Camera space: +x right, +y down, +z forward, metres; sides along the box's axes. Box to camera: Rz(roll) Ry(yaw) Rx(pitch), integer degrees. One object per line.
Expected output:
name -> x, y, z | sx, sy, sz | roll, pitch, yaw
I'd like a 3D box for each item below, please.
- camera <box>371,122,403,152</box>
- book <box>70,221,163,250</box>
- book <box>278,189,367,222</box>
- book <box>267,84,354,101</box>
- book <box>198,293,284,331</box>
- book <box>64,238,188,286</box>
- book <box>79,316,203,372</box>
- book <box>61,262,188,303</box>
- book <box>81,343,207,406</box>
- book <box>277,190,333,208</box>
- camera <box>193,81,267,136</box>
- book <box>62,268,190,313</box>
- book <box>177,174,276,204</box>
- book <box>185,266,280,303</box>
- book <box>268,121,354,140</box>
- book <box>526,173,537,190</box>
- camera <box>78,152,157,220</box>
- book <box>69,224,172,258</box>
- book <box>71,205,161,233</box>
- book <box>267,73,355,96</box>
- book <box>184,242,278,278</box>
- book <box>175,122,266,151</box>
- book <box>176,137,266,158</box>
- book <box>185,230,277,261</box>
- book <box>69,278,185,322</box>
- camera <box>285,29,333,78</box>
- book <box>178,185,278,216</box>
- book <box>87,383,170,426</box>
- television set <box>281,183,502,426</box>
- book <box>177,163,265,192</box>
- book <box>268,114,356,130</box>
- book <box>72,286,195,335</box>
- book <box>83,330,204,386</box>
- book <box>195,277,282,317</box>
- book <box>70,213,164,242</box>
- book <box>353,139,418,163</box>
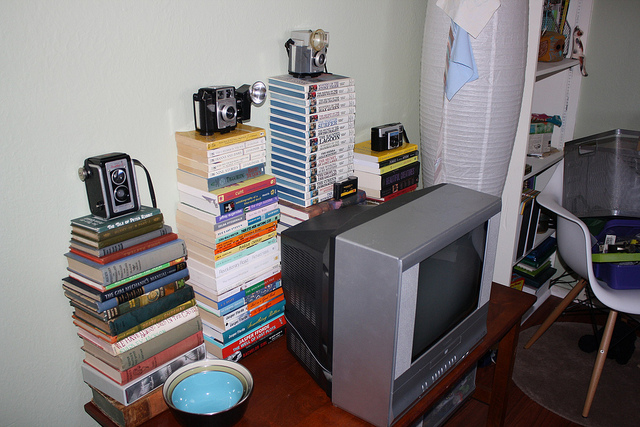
camera -> 0.330, -0.385, 2.428 | 0.195, 0.116, 0.081 | -21, 25, -39
book -> -0.688, 0.079, 1.688 | 0.136, 0.017, 0.139 | 17, 27, 38
book -> -0.025, -0.035, 2.168 | 0.150, 0.043, 0.217 | 17, 30, 40
book -> -0.032, -0.524, 2.064 | 0.371, 0.061, 0.132 | -6, 20, -6
book -> -0.327, 0.390, 1.930 | 0.149, 0.033, 0.159 | 12, 29, 44
book -> -0.654, 0.172, 1.690 | 0.200, 0.047, 0.204 | -18, 4, 43
book -> -0.582, 0.466, 1.734 | 0.213, 0.051, 0.220 | -30, -4, 35
book -> -0.674, 0.246, 1.689 | 0.184, 0.040, 0.192 | -18, 9, 44
book -> -0.612, 0.586, 1.749 | 0.231, 0.054, 0.223 | -22, -2, -45
book -> -0.048, -0.068, 2.162 | 0.109, 0.023, 0.111 | 21, 33, 36
camera -> -0.351, -0.411, 1.897 | 0.263, 0.182, 0.126 | -15, 28, -29
book -> -0.643, 0.273, 1.697 | 0.196, 0.041, 0.202 | -22, 6, 35
book -> -0.357, -0.112, 1.904 | 0.170, 0.037, 0.188 | 22, 34, 40
book -> -0.341, 0.287, 1.930 | 0.161, 0.035, 0.171 | -22, 32, -31
book -> -0.024, -0.361, 2.107 | 0.161, 0.035, 0.158 | -17, 23, -41
book -> 1.267, -0.197, 2.946 | 0.035, 0.065, 0.067 | 21, 42, 37
camera -> -0.666, -0.094, 1.747 | 0.229, 0.221, 0.152 | -10, -1, 26
book -> -0.674, 0.101, 1.690 | 0.156, 0.022, 0.160 | 15, 30, 37
book -> -0.702, 0.020, 1.696 | 0.139, 0.019, 0.132 | 21, 29, 33
book -> -0.069, -0.565, 2.074 | 0.204, 0.041, 0.183 | -22, 35, -39
book -> -0.366, 0.179, 1.936 | 0.161, 0.035, 0.174 | 22, 35, 39
book -> -0.394, -0.294, 1.921 | 0.294, 0.055, 0.277 | -16, 27, -34
book -> -0.385, -0.261, 1.863 | 0.141, 0.026, 0.150 | 23, 35, 35
book -> -0.358, 0.124, 1.929 | 0.186, 0.026, 0.127 | -24, 33, -38
book -> -0.641, 0.313, 1.713 | 0.191, 0.039, 0.186 | -28, 4, -37
camera -> -0.054, -0.699, 2.122 | 0.207, 0.203, 0.158 | -11, 28, -23
book -> -0.377, -0.057, 1.895 | 0.169, 0.038, 0.188 | 24, 34, 37
book -> -0.661, 0.690, 1.714 | 0.172, 0.048, 0.182 | 24, 29, 23
television set -> 0.224, 0.230, 2.037 | 0.774, 0.858, 0.910 | 22, 35, 38
book -> -0.402, -0.171, 1.980 | 0.351, 0.072, 0.359 | 3, 11, -16
book -> -0.027, -0.394, 2.097 | 0.149, 0.036, 0.153 | 15, 26, 36
book -> -0.632, 0.354, 1.731 | 0.214, 0.051, 0.210 | -21, 9, -33
book -> -0.594, 0.526, 1.748 | 0.214, 0.052, 0.218 | -27, 1, 44
book -> -0.311, 0.351, 1.949 | 0.183, 0.039, 0.187 | -29, 3, -34
book -> -0.697, 0.045, 1.695 | 0.296, 0.049, 0.094 | -12, 21, -21
book -> 0.266, -0.304, 2.398 | 0.188, 0.038, 0.169 | -25, 36, -38
